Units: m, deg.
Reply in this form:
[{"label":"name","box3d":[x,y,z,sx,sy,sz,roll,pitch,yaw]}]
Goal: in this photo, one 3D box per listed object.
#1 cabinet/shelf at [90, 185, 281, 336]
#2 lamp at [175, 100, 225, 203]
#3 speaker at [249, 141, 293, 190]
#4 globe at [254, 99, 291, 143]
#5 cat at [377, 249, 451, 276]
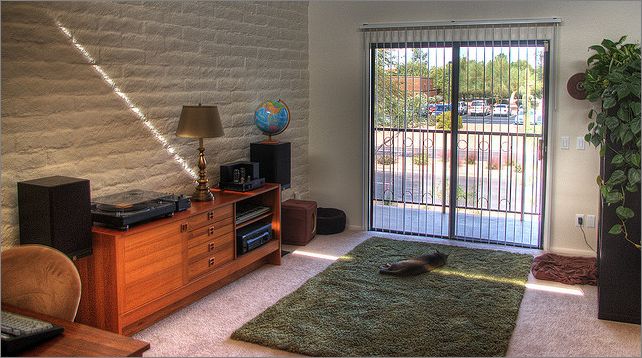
[{"label":"cabinet/shelf","box3d":[-1.667,0.830,5.175,0.806,1.012,2.565,7,11,25]},{"label":"lamp","box3d":[-1.428,-0.350,5.079,0.630,1.130,0.561,3,5,28]},{"label":"speaker","box3d":[-0.702,-0.195,5.852,0.566,0.658,0.388,-3,13,-8]},{"label":"globe","box3d":[-0.692,-0.831,5.906,0.482,0.572,0.249,-2,13,-7]},{"label":"cat","box3d":[1.283,1.112,5.585,0.999,0.274,0.511,-13,10,-18]}]
